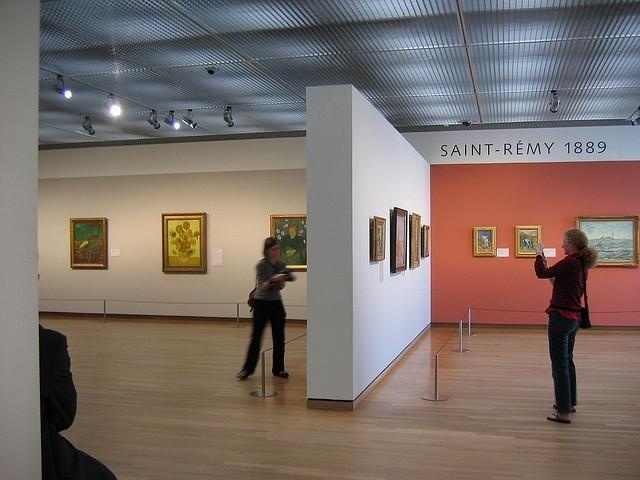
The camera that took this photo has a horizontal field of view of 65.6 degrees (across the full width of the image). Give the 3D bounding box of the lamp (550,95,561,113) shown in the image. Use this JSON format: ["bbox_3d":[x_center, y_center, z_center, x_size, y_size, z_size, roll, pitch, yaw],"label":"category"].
[{"bbox_3d":[6.167,-3.513,12.851,0.277,0.345,0.859,0,7,16],"label":"lamp"}]

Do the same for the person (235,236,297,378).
[{"bbox_3d":[-0.997,1.312,9.459,0.966,2.680,1.116,0,-2,-7],"label":"person"}]

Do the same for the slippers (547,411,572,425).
[{"bbox_3d":[3.394,2.493,7.031,0.248,0.102,0.136,3,3,42],"label":"slippers"}]

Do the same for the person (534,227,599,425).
[{"bbox_3d":[3.605,1.203,7.212,0.758,2.729,0.661,-2,-2,40],"label":"person"}]

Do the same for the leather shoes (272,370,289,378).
[{"bbox_3d":[-0.773,2.584,9.594,0.313,0.223,0.117,0,-1,6],"label":"leather shoes"}]
